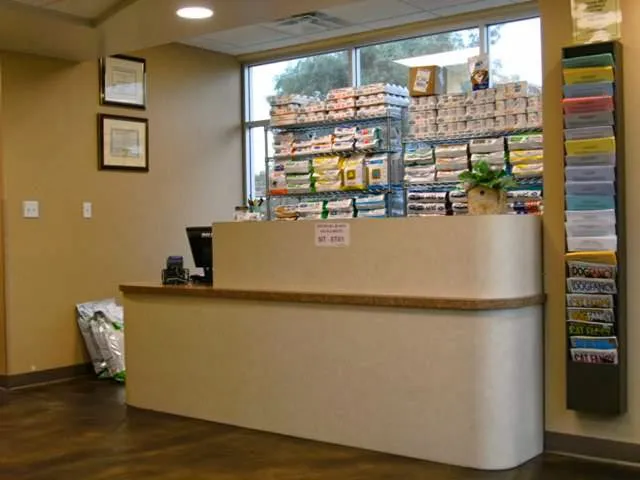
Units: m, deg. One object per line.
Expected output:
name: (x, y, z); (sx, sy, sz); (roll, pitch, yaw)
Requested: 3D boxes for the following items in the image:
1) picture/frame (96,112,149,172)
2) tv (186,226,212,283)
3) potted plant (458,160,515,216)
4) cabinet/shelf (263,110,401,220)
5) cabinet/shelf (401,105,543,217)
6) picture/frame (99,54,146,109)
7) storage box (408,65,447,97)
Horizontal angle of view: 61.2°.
picture/frame: (-2.309, -1.130, 6.224); (0.679, 0.720, 0.049); (-3, 4, -44)
tv: (-1.044, 0.124, 4.712); (0.175, 0.467, 0.436); (-5, 6, -23)
potted plant: (1.091, -0.333, 3.571); (0.313, 0.336, 0.335); (1, 5, 4)
cabinet/shelf: (0.132, -1.082, 6.092); (1.587, 1.588, 0.554); (-4, -4, 9)
cabinet/shelf: (1.599, -0.747, 5.383); (1.377, 1.341, 0.473); (-1, -29, 25)
picture/frame: (-2.308, -1.831, 6.229); (0.069, 0.721, 0.680); (-4, -2, 43)
storage box: (1.105, -1.576, 5.588); (0.317, 0.349, 0.320); (5, 3, 32)
